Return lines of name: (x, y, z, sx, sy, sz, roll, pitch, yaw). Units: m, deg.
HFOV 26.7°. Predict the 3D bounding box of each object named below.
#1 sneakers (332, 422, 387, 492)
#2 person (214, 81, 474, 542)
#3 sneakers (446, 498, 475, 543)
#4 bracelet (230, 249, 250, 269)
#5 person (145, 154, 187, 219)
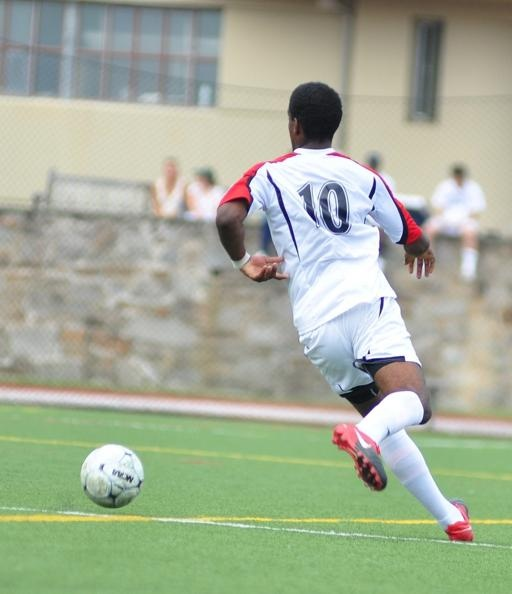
sneakers: (0.428, 0.656, 4.345, 0.237, 0.267, 0.221, 7, 1, 17)
person: (0.457, -0.112, 4.865, 1.010, 1.967, 0.957, 7, 1, 42)
sneakers: (0.961, 1.043, 5.037, 0.087, 0.104, 0.247, -31, 11, 13)
bracelet: (-0.068, -0.172, 4.951, 0.057, 0.076, 0.077, 27, 40, -5)
person: (-0.858, -1.096, 10.947, 0.270, 0.605, 1.016, 7, 1, -2)
